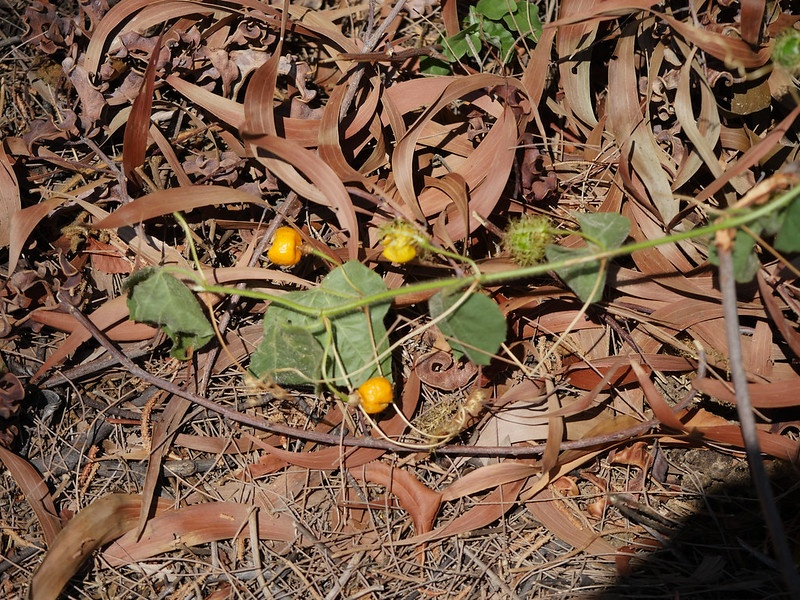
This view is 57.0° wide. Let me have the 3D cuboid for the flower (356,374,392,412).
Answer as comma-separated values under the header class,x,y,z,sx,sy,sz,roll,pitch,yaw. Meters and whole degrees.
class,x,y,z,sx,sy,sz,roll,pitch,yaw
flower,-0.061,0.229,1.794,0.089,0.075,0.068,-15,-7,40
